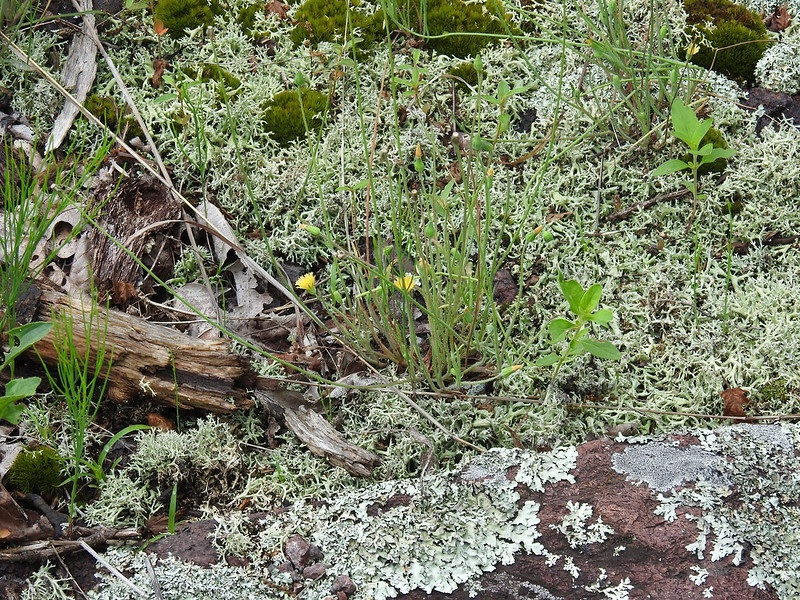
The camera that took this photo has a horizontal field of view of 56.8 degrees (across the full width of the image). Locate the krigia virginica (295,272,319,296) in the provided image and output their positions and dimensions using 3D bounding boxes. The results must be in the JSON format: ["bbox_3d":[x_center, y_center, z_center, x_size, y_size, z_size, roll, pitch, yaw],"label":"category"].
[{"bbox_3d":[-0.481,-0.076,3.792,0.096,0.085,0.090,-18,37,45],"label":"krigia virginica"}]

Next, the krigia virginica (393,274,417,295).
[{"bbox_3d":[0.011,-0.078,3.379,0.096,0.045,0.097,2,48,16],"label":"krigia virginica"}]
